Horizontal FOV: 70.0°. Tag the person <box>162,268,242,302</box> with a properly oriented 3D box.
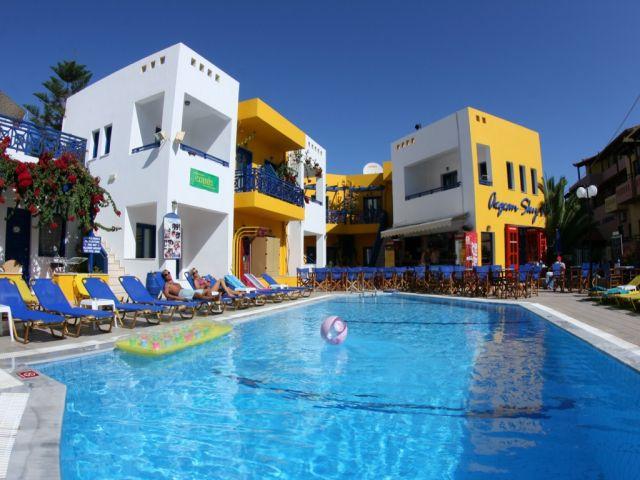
[{"bbox_3d":[-3.466,1.354,13.138,2.293,1.152,0.897,1,1,4],"label":"person"}]

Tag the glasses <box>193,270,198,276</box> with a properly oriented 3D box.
[{"bbox_3d":[-3.881,1.024,14.250,0.168,0.191,0.139,0,-8,32],"label":"glasses"}]
